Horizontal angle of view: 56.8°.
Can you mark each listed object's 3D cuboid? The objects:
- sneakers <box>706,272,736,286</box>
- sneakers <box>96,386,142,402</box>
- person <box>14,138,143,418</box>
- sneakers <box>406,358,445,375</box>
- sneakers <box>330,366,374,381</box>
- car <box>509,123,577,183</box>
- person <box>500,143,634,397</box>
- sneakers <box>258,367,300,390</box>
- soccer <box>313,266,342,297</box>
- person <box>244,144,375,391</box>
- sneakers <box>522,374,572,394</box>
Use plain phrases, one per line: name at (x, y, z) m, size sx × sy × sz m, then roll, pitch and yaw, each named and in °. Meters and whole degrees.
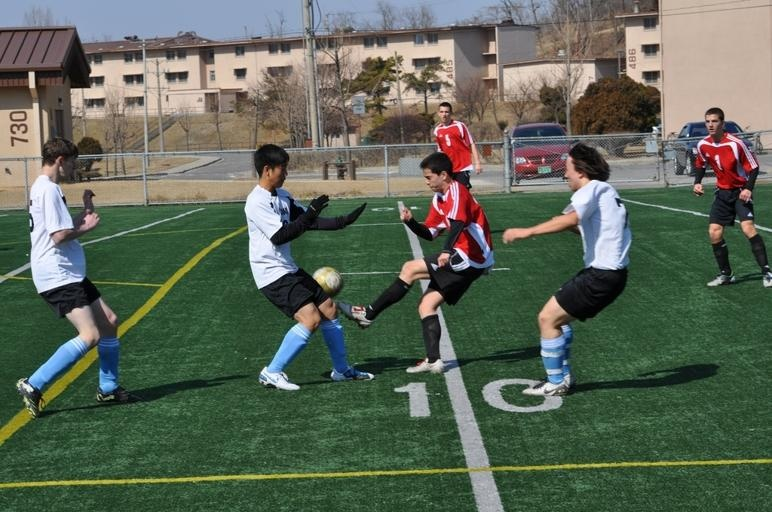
sneakers at (4.699, 0.346, 10.152) m, size 0.502 × 0.181 × 0.157 m, roll -7°, pitch 19°, yaw 0°
sneakers at (-2.603, 1.348, 6.954) m, size 0.445 × 0.140 × 0.144 m, roll 0°, pitch 3°, yaw -3°
person at (-3.053, 0.214, 6.576) m, size 0.921 × 2.518 × 0.772 m, roll -11°, pitch 17°, yaw -26°
sneakers at (0.421, 1.150, 7.455) m, size 0.454 × 0.160 × 0.144 m, roll 1°, pitch 1°, yaw 3°
sneakers at (-0.357, 1.219, 7.264) m, size 0.446 × 0.141 × 0.159 m, roll -3°, pitch 3°, yaw -6°
car at (5.583, -3.850, 26.452) m, size 1.748 × 1.183 × 3.658 m, roll -1°, pitch 4°, yaw 5°
person at (1.748, 0.162, 6.593) m, size 0.907 × 2.313 × 0.795 m, roll 2°, pitch 16°, yaw 20°
sneakers at (-1.059, 1.224, 7.095) m, size 0.518 × 0.176 × 0.165 m, roll 9°, pitch 6°, yaw -7°
soccer at (-0.607, 0.264, 7.339) m, size 0.380 × 0.255 × 0.302 m, roll -2°, pitch -3°, yaw 15°
person at (-0.865, 0.120, 6.981) m, size 1.003 × 2.412 × 0.640 m, roll -6°, pitch 16°, yaw -9°
sneakers at (1.495, 1.223, 6.761) m, size 0.495 × 0.152 × 0.159 m, roll 0°, pitch 0°, yaw 5°
